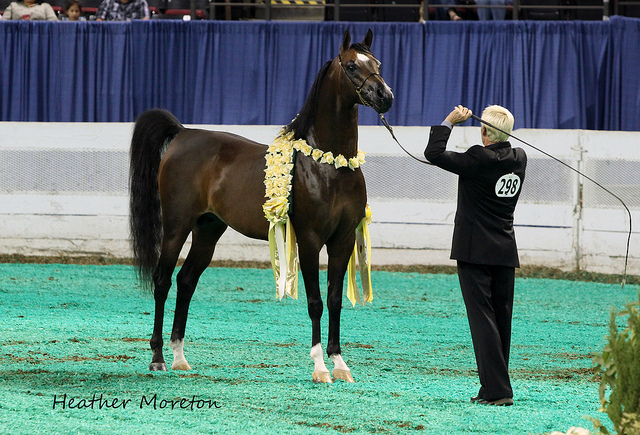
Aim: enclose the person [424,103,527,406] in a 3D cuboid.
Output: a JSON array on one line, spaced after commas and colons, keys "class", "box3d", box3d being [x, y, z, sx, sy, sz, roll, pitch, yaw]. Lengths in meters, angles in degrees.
[{"class": "person", "box3d": [1.520, 0.331, 13.304, 0.819, 2.722, 0.733, 1, 10, 10]}]
